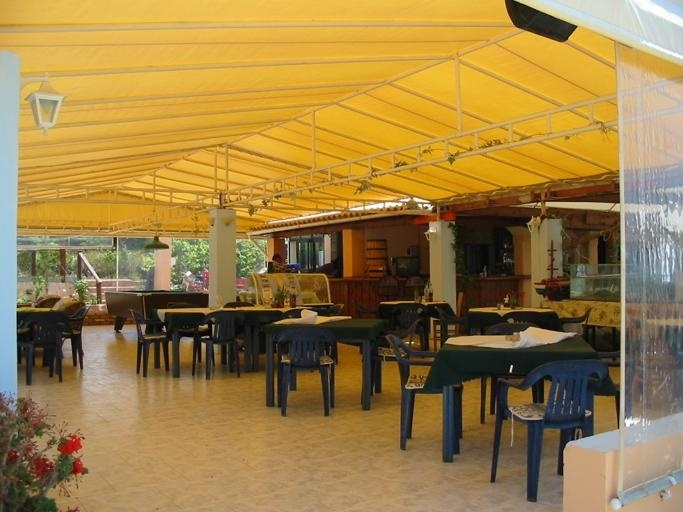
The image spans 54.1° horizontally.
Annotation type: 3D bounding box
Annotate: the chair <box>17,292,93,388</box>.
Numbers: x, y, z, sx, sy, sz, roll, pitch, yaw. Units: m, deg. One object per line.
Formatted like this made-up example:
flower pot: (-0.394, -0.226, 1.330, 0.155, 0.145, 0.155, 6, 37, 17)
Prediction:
chair: (-4.206, 1.273, 10.545, 1.286, 1.508, 1.186, -2, 7, -38)

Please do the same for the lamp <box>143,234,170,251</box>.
lamp: (-5.297, -0.369, 19.151, 0.713, 0.306, 0.683, 1, 2, 13)

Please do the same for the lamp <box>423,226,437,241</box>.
lamp: (1.932, -0.480, 14.554, 0.423, 0.359, 0.353, 1, -3, 2)

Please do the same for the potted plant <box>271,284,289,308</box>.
potted plant: (-1.095, 0.719, 11.439, 0.338, 0.348, 0.326, -1, -3, 15)

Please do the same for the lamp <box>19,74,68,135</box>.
lamp: (-2.564, -1.341, 5.873, 0.313, 0.536, 0.356, 7, 7, 43)
